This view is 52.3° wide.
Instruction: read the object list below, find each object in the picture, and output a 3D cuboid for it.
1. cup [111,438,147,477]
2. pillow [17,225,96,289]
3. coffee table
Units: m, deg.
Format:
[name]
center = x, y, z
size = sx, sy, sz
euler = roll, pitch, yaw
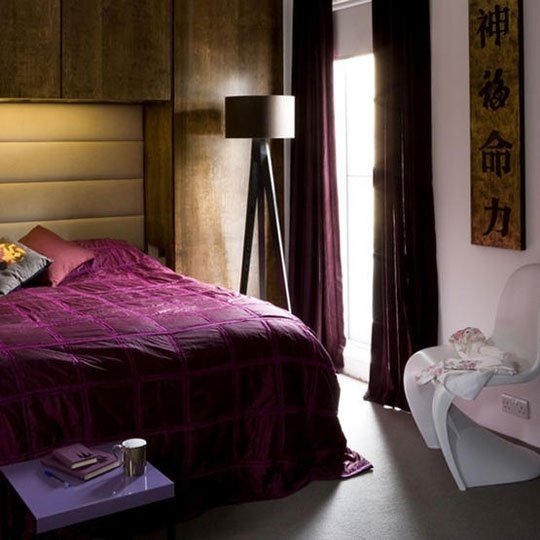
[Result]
[cup]
center = -0.399, 0.540, 1.564
size = 0.058, 0.096, 0.096
euler = 6, 7, 39
[pillow]
center = -1.336, -0.034, 3.434
size = 0.380, 0.115, 0.419
euler = 2, 31, 20
[coffee table]
center = -0.529, 0.491, 1.497
size = 0.286, 0.221, 0.281
euler = -6, 11, -31
